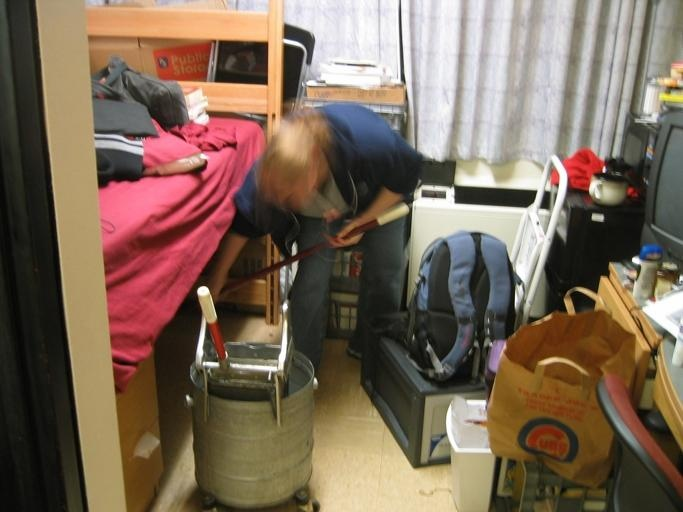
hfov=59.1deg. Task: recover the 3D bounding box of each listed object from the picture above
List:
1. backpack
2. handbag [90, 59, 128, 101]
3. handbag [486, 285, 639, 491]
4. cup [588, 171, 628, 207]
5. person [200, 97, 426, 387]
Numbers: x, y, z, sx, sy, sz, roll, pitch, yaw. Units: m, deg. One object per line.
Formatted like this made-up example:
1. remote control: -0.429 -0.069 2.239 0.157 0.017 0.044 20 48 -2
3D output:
1. backpack: 0.387 0.122 2.190 0.446 0.623 0.419 -2 11 -7
2. handbag: -0.810 -0.623 2.113 0.123 0.134 0.397 -7 19 -20
3. handbag: 0.575 0.337 1.809 0.354 0.525 0.479 19 45 27
4. cup: 0.983 -0.245 2.254 0.124 0.087 0.104 6 37 4
5. person: -0.088 0.005 2.235 0.581 1.102 0.929 12 21 34
